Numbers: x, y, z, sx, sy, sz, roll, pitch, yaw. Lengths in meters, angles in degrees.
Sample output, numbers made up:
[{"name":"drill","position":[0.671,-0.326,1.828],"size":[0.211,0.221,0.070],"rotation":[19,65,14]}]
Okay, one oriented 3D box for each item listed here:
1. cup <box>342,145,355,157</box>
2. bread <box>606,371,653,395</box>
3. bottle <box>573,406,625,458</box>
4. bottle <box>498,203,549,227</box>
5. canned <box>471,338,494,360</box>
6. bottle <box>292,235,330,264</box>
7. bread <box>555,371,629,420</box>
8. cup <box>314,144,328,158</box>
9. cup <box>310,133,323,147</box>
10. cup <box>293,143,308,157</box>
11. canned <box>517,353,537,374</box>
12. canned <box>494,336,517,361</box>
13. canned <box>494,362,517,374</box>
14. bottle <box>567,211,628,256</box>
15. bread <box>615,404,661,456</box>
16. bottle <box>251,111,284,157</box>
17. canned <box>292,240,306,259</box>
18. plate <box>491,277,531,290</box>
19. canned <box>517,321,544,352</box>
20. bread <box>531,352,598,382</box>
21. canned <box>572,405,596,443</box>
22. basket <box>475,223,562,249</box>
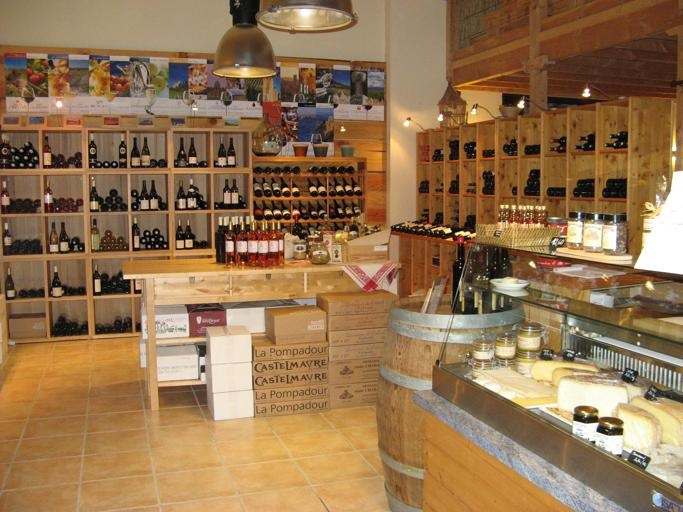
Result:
[{"name":"cup","position":[0.103,-1.681,8.267],"size":[0.201,0.123,0.192],"rotation":[2,12,0]},{"name":"bread","position":[1.093,0.463,1.935],"size":[0.101,0.053,0.092],"rotation":[-4,9,-21]},{"name":"bottle","position":[0.881,0.592,1.768],"size":[0.089,0.117,0.157],"rotation":[-5,6,-38]},{"name":"bottle","position":[0.971,-0.208,2.767],"size":[0.319,0.141,0.199],"rotation":[3,19,19]},{"name":"canned","position":[0.704,0.462,2.592],"size":[0.122,0.086,0.091],"rotation":[3,4,25]},{"name":"bottle","position":[-0.322,-0.056,4.985],"size":[0.242,0.201,0.388],"rotation":[-3,4,-45]},{"name":"bread","position":[0.958,0.494,1.963],"size":[0.152,0.095,0.220],"rotation":[-3,5,-31]},{"name":"cup","position":[-0.371,-1.673,8.175],"size":[0.244,0.154,0.235],"rotation":[1,2,0]},{"name":"cup","position":[-0.423,-1.898,8.361],"size":[0.237,0.192,0.222],"rotation":[1,13,0]},{"name":"cup","position":[-0.690,-1.664,8.089],"size":[0.247,0.154,0.223],"rotation":[-3,7,-31]},{"name":"canned","position":[0.864,0.499,2.422],"size":[0.103,0.079,0.092],"rotation":[0,2,-3]},{"name":"canned","position":[0.796,0.442,2.497],"size":[0.130,0.101,0.117],"rotation":[-1,2,-14]},{"name":"canned","position":[0.789,0.533,2.461],"size":[0.052,0.039,0.047],"rotation":[1,3,-2]},{"name":"bottle","position":[1.109,-0.093,2.222],"size":[0.090,0.122,0.215],"rotation":[0,2,-32]},{"name":"bread","position":[1.014,0.579,1.745],"size":[0.114,0.098,0.224],"rotation":[3,8,23]},{"name":"bottle","position":[-0.806,-1.292,5.639],"size":[0.339,0.375,0.458],"rotation":[-1,7,-7]},{"name":"canned","position":[-0.417,-0.058,5.051],"size":[0.193,0.167,0.175],"rotation":[0,2,-5]},{"name":"plate","position":[0.786,0.126,2.406],"size":[0.020,0.067,0.217],"rotation":[-5,8,-30]},{"name":"canned","position":[0.884,0.376,2.414],"size":[0.161,0.123,0.112],"rotation":[2,3,4]},{"name":"bread","position":[0.962,0.471,2.192],"size":[0.193,0.051,0.167],"rotation":[-1,3,-1]},{"name":"canned","position":[0.867,0.579,1.831],"size":[0.109,0.133,0.105],"rotation":[2,4,27]},{"name":"basket","position":[0.873,-0.101,2.553],"size":[0.408,0.094,0.220],"rotation":[2,7,18]}]
